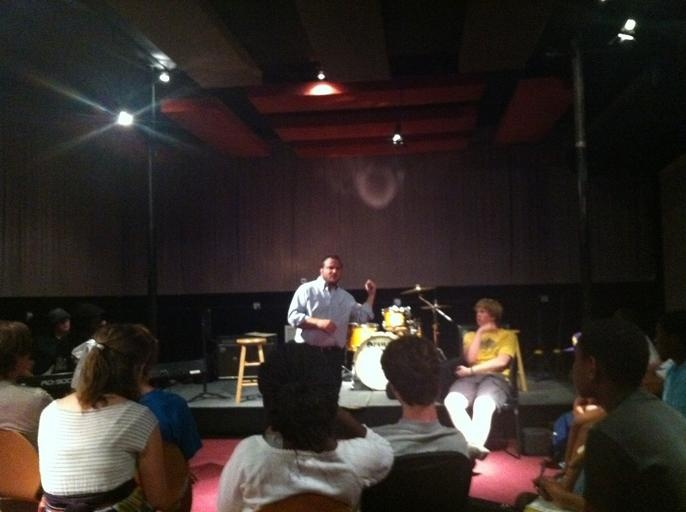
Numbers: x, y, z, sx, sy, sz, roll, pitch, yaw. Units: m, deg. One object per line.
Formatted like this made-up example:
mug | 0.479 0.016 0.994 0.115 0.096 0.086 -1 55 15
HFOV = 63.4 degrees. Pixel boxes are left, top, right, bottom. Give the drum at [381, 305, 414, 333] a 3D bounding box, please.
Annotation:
drum | 0.615 0.724 6.244 0.277 0.314 0.290 -1 -9 5

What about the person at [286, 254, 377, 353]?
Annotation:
person | -0.101 0.463 5.383 0.691 0.905 0.831 -4 -8 38

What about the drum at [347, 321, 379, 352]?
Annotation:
drum | 0.211 0.883 6.163 0.324 0.273 0.338 1 -15 8
